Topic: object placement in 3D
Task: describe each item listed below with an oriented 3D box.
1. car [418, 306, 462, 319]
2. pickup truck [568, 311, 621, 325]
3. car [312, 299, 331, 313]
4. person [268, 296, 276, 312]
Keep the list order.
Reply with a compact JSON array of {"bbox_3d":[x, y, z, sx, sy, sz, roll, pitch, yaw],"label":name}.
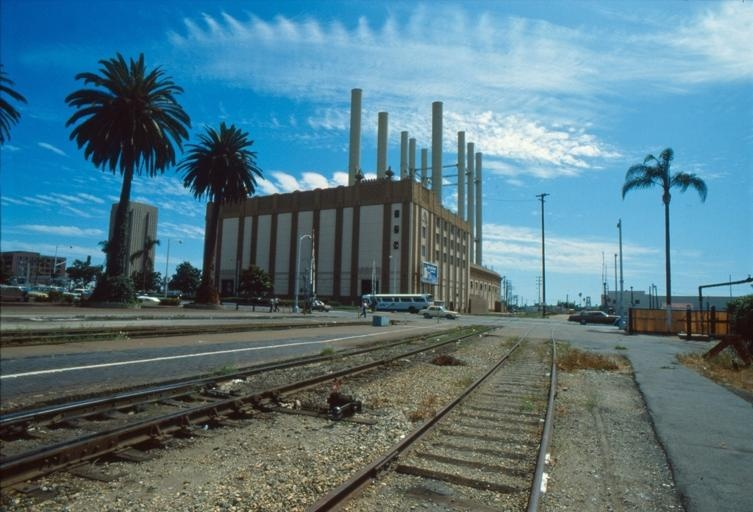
[{"bbox_3d":[6.231,5.654,59.012,3.650,1.181,1.515,-7,-8,34],"label":"car"},{"bbox_3d":[21.281,5.921,55.776,4.279,1.204,1.888,-7,-8,36],"label":"pickup truck"},{"bbox_3d":[-6.433,5.534,65.526,2.442,1.301,1.460,-5,-7,14],"label":"car"},{"bbox_3d":[-12.183,5.444,66.666,1.143,2.121,1.191,-1,-5,24],"label":"person"}]
